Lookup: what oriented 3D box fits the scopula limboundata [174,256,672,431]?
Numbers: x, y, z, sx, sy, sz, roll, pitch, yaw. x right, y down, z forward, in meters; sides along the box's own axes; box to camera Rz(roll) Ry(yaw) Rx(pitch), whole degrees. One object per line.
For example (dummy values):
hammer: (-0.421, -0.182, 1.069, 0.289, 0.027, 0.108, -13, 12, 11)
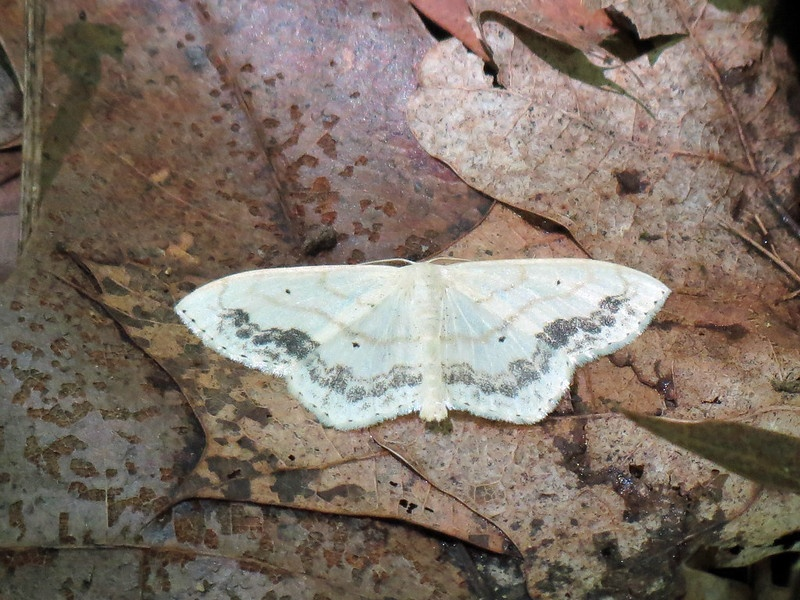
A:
scopula limboundata: (0.171, 0.200, 6.964, 2.847, 1.064, 0.843, 4, 43, -5)
